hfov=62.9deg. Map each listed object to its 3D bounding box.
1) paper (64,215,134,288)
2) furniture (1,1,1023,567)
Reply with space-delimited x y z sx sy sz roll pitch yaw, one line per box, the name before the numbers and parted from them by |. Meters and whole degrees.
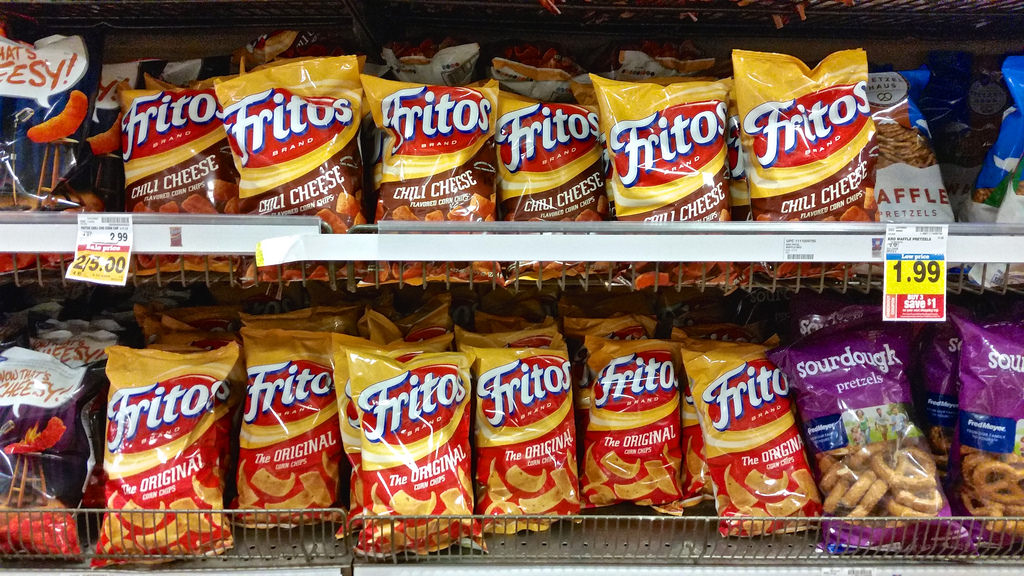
paper | -1.052 -0.100 2.121 0.182 0.192 0.026 5 7 0
furniture | -0.218 -0.077 2.688 3.012 0.662 1.716 0 47 -1
